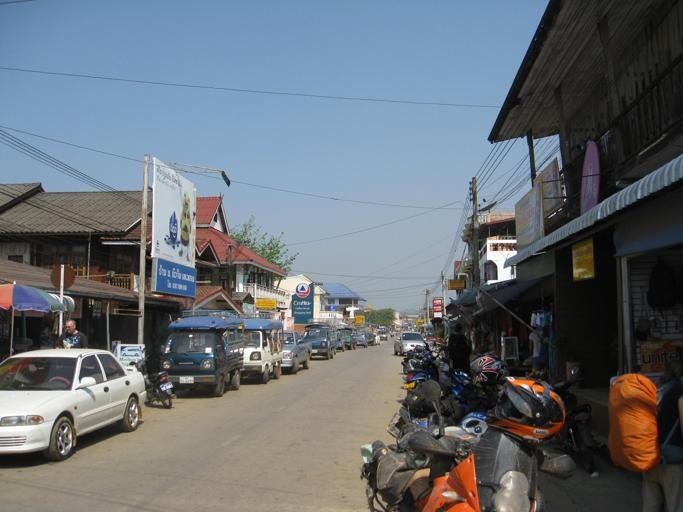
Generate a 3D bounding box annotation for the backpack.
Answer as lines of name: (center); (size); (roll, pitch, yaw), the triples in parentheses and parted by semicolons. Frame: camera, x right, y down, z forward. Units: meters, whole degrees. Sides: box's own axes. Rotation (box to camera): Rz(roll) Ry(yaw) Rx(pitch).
backpack: (3.505, 2.012, 7.587); (0.552, 1.154, 0.299); (-3, -3, 26)
